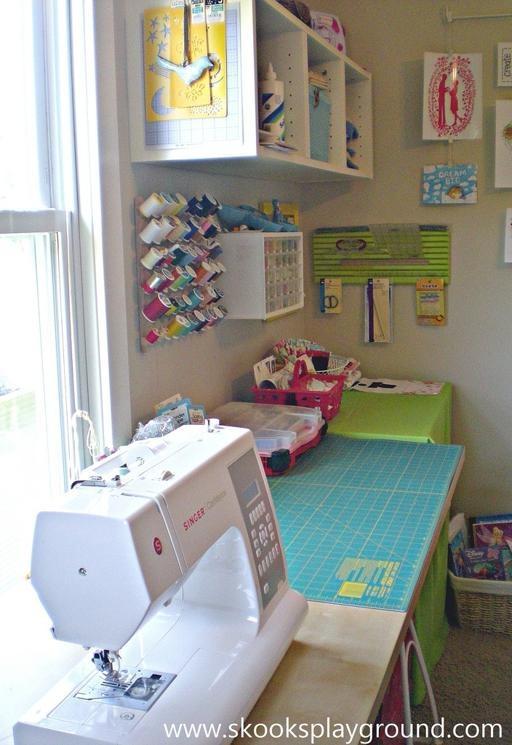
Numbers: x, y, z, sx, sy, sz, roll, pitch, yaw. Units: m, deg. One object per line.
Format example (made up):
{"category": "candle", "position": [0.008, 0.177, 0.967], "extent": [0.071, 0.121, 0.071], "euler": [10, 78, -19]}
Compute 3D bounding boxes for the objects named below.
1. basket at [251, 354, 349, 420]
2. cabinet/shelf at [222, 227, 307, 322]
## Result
{"category": "basket", "position": [0.152, 0.048, 2.153], "extent": [0.266, 0.194, 0.271], "euler": [2, 13, 17]}
{"category": "cabinet/shelf", "position": [0.019, -0.334, 1.925], "extent": [0.125, 0.268, 0.355], "euler": [2, 15, 17]}
